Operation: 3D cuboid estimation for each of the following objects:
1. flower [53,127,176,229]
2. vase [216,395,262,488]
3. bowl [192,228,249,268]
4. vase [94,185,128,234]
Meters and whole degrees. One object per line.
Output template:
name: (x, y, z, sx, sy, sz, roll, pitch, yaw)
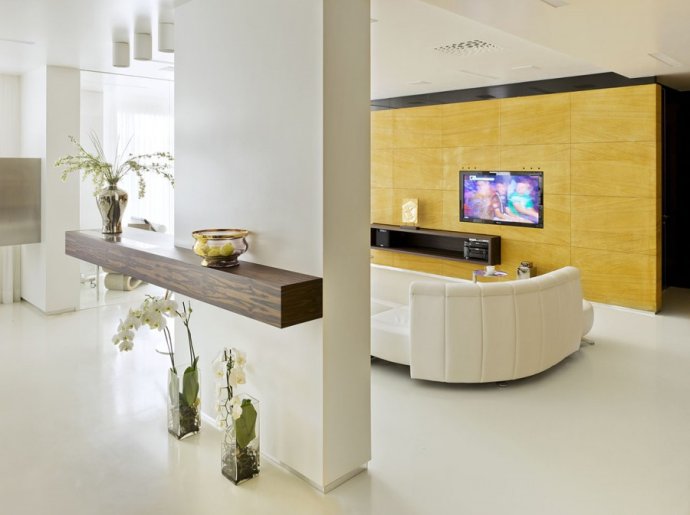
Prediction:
flower: (-1.961, -0.629, 4.442, 1.028, 0.754, 1.001, 2, 1, -9)
vase: (-0.664, 1.121, 3.267, 0.263, 0.569, 0.245, -1, 7, -18)
bowl: (-0.795, -0.075, 3.283, 0.293, 0.186, 0.297, 1, 0, 0)
vase: (-1.999, -0.419, 4.354, 0.249, 0.412, 0.179, -2, 7, -22)
